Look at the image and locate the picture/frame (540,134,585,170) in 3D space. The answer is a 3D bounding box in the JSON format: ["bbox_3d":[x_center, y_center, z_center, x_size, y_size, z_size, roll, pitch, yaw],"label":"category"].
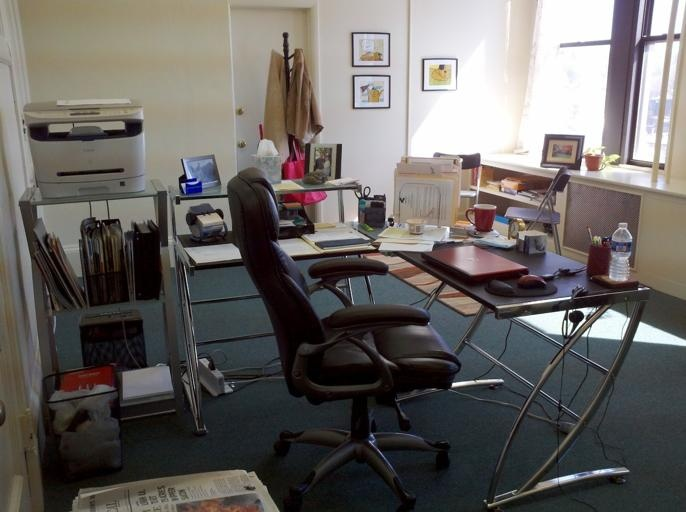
[{"bbox_3d":[2.127,-1.000,5.197,0.375,0.401,0.030,10,-1,29],"label":"picture/frame"}]

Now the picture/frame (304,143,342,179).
[{"bbox_3d":[-0.130,-0.624,3.560,0.248,0.299,0.020,1,9,-2],"label":"picture/frame"}]

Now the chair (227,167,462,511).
[{"bbox_3d":[-0.025,0.126,3.068,1.356,1.986,1.242,-3,17,-6],"label":"chair"}]

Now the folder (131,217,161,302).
[{"bbox_3d":[-1.036,0.041,2.834,0.134,0.343,0.347,-3,19,-20],"label":"folder"}]

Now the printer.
[{"bbox_3d":[-1.386,-0.602,2.941,0.737,0.572,0.493,-5,20,-16],"label":"printer"}]

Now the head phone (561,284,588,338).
[{"bbox_3d":[0.974,0.238,2.321,0.119,0.251,0.108,6,-1,-19],"label":"head phone"}]

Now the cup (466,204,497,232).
[{"bbox_3d":[0.799,-0.220,3.095,0.131,0.149,0.205,-4,10,-18],"label":"cup"}]

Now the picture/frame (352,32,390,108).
[{"bbox_3d":[0.296,-1.952,5.695,0.467,0.767,0.078,-12,18,-25],"label":"picture/frame"}]

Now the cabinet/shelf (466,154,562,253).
[{"bbox_3d":[1.502,-0.482,4.624,0.609,0.813,0.826,2,22,0],"label":"cabinet/shelf"}]

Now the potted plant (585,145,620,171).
[{"bbox_3d":[2.470,-0.906,5.166,0.303,0.227,0.264,1,5,-32],"label":"potted plant"}]

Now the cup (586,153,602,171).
[{"bbox_3d":[2.365,-0.883,5.083,0.141,0.137,0.147,1,5,0],"label":"cup"}]

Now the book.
[{"bbox_3d":[-1.424,0.068,2.750,0.132,0.433,0.314,-17,31,-11],"label":"book"}]

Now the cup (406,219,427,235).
[{"bbox_3d":[0.411,-0.161,3.026,0.070,0.058,0.088,-2,22,-8],"label":"cup"}]

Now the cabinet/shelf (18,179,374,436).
[{"bbox_3d":[-0.809,0.317,2.906,1.329,0.942,0.462,-6,29,-10],"label":"cabinet/shelf"}]

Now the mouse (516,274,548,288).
[{"bbox_3d":[0.822,0.099,2.324,0.096,0.037,0.058,-2,17,-6],"label":"mouse"}]

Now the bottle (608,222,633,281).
[{"bbox_3d":[1.238,-0.014,2.404,0.083,0.241,0.226,4,19,26],"label":"bottle"}]
